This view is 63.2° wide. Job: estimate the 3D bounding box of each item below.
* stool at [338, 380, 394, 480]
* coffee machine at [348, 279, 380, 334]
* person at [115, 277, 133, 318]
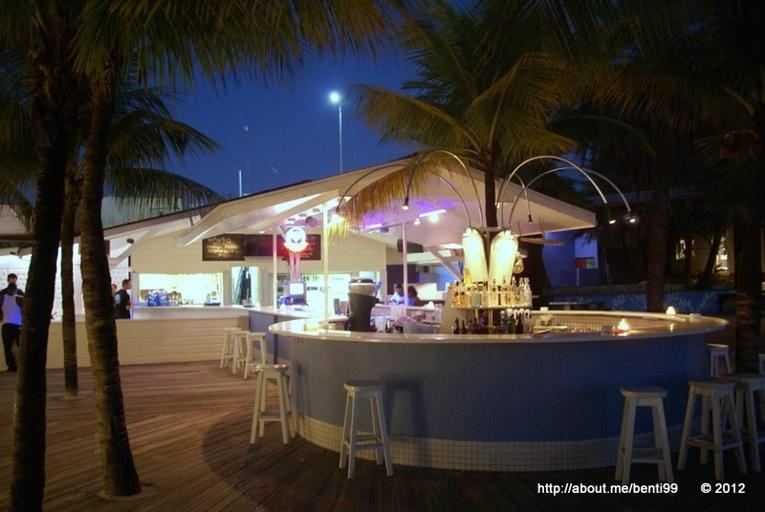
[{"bbox_3d":[-0.225,2.055,7.695,0.665,1.086,0.771,-2,6,-5],"label":"stool"},{"bbox_3d":[-0.365,0.777,9.739,0.642,1.036,0.588,-1,1,-16],"label":"coffee machine"},{"bbox_3d":[-6.368,1.037,15.211,0.364,0.938,0.778,-4,7,-24],"label":"person"}]
